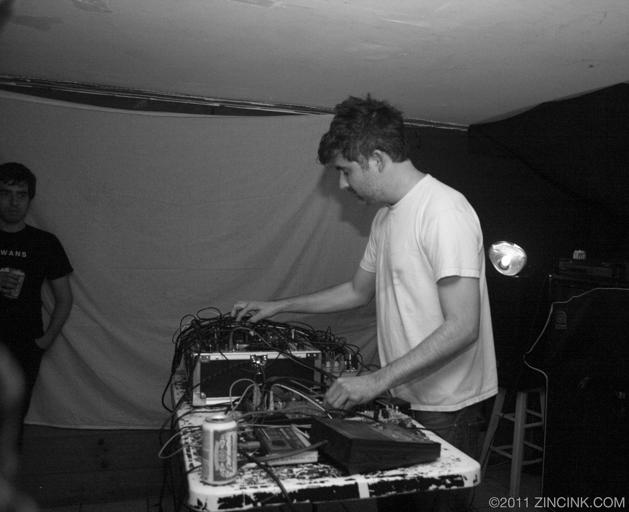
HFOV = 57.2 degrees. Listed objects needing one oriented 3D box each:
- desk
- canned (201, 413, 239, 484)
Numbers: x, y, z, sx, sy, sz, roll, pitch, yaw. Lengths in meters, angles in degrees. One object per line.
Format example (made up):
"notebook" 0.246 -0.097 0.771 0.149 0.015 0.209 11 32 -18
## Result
"desk" -0.018 0.768 2.187 0.965 0.349 0.860 5 1 -19
"canned" -0.284 0.605 1.815 0.155 0.173 0.110 4 1 -33
